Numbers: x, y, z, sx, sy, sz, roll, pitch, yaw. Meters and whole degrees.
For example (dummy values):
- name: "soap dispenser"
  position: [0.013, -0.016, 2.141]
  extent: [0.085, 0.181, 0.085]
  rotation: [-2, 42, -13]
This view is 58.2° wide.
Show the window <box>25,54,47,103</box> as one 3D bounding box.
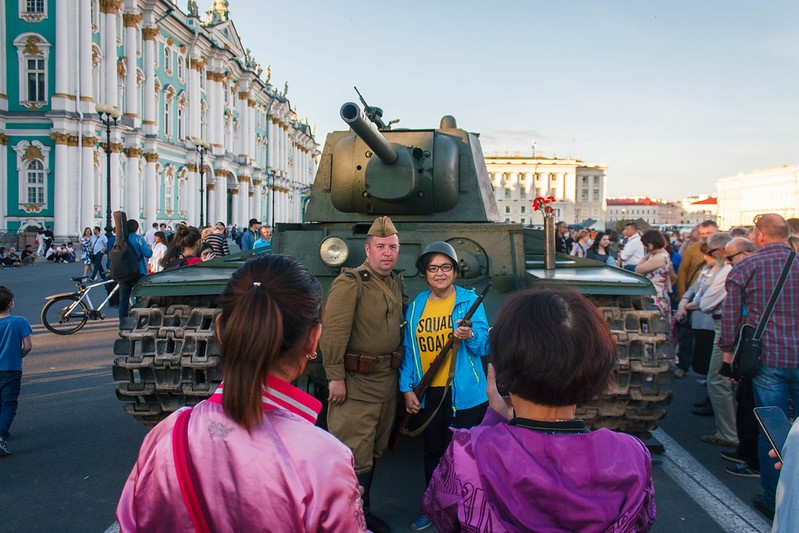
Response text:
- name: "window"
  position: [-16.477, -8.564, 32.778]
  extent: [0.807, 2.098, 0.155]
  rotation: [-9, 34, -36]

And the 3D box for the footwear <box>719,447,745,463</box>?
- name: "footwear"
  position: [3.891, 2.215, 8.427]
  extent: [0.271, 0.135, 0.103]
  rotation: [1, -3, 31]

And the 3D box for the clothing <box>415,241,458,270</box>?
- name: "clothing"
  position: [0.355, -0.115, 7.163]
  extent: [0.352, 0.300, 0.439]
  rotation: [-2, 10, -14]

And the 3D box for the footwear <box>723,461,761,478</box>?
- name: "footwear"
  position: [3.854, 2.281, 8.107]
  extent: [0.345, 0.176, 0.134]
  rotation: [4, -5, 13]

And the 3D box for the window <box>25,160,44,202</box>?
- name: "window"
  position: [-16.849, -3.979, 33.439]
  extent: [0.803, 2.217, 0.186]
  rotation: [-4, 29, -31]

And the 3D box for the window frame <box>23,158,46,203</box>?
- name: "window frame"
  position: [-16.841, -4.135, 33.416]
  extent: [0.831, 2.241, 0.157]
  rotation: [3, 27, -25]

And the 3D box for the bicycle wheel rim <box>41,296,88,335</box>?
- name: "bicycle wheel rim"
  position: [-6.804, 0.982, 14.575]
  extent: [0.835, 0.781, 0.344]
  rotation: [12, -8, -5]

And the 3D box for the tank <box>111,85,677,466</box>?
- name: "tank"
  position: [-0.076, -0.128, 10.391]
  extent: [4.036, 3.407, 6.003]
  rotation: [-1, -2, 8]

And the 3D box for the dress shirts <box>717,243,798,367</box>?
- name: "dress shirts"
  position: [3.681, 0.378, 7.317]
  extent: [0.698, 1.211, 0.318]
  rotation: [3, 9, 15]

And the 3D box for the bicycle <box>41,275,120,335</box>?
- name: "bicycle"
  position: [-7.065, 0.874, 16.063]
  extent: [0.798, 1.097, 1.574]
  rotation: [9, 11, 39]

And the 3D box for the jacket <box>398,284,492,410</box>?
- name: "jacket"
  position: [0.595, 0.809, 7.483]
  extent: [1.071, 1.563, 0.991]
  rotation: [-1, -9, 16]
